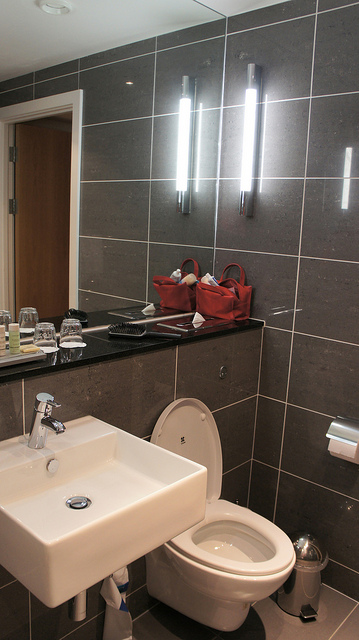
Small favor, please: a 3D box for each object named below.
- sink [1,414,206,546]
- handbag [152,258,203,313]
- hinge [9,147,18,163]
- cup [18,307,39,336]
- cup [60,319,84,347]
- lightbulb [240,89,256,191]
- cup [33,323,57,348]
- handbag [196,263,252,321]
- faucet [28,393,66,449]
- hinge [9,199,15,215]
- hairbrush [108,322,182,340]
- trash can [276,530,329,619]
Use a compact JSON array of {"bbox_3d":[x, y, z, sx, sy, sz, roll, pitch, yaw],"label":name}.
[{"bbox_3d":[-0.203,0.318,1.000,0.399,0.151,0.378,7,6,45],"label":"sink"},{"bbox_3d":[-0.004,-0.141,1.810,0.053,0.226,0.351,4,4,25],"label":"handbag"},{"bbox_3d":[-0.355,-0.351,0.957,0.002,0.034,0.022,4,4,31],"label":"hinge"},{"bbox_3d":[-0.387,0.006,1.146,0.034,0.076,0.083,3,4,11],"label":"cup"},{"bbox_3d":[-0.306,0.037,1.263,0.060,0.079,0.065,3,7,0],"label":"cup"},{"bbox_3d":[0.281,-0.733,1.821,0.064,0.573,0.070,10,-23,-14],"label":"lightbulb"},{"bbox_3d":[-0.358,0.038,1.209,0.045,0.060,0.055,8,14,21],"label":"cup"},{"bbox_3d":[0.186,-0.121,1.897,0.229,0.242,0.178,3,4,13],"label":"handbag"},{"bbox_3d":[-0.288,0.234,0.974,0.084,0.128,0.037,28,22,26],"label":"faucet"},{"bbox_3d":[-0.367,-0.247,0.977,0.003,0.038,0.021,15,25,11],"label":"hinge"},{"bbox_3d":[-0.125,0.039,1.461,0.163,0.044,0.096,5,3,-7],"label":"hairbrush"},{"bbox_3d":[0.474,0.957,1.718,0.185,0.306,0.178,16,15,42],"label":"trash can"}]
